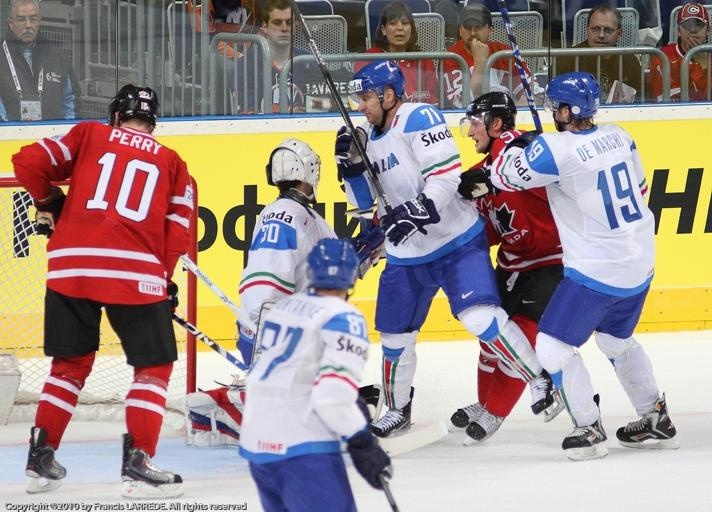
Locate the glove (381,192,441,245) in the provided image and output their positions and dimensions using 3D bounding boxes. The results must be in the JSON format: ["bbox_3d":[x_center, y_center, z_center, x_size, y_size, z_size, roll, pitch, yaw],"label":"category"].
[{"bbox_3d":[0.283,-0.198,6.048,0.303,0.236,0.118,-34,-12,26],"label":"glove"}]

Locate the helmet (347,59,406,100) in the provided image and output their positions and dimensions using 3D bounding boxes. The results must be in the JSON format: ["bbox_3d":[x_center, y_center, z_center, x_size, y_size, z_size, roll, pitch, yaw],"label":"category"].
[{"bbox_3d":[0.111,-0.960,6.239,0.258,0.198,0.191,-29,14,3],"label":"helmet"}]

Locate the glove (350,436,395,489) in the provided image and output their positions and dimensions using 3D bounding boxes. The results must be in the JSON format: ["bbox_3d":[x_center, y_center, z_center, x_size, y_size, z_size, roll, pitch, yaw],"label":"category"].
[{"bbox_3d":[0.047,0.847,4.722,0.145,0.246,0.087,-38,11,-5],"label":"glove"}]

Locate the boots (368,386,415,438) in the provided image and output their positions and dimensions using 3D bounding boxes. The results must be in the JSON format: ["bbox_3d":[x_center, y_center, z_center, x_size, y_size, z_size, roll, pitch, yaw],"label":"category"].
[{"bbox_3d":[0.211,0.981,6.555,0.113,0.229,0.327,-22,28,-17],"label":"boots"}]

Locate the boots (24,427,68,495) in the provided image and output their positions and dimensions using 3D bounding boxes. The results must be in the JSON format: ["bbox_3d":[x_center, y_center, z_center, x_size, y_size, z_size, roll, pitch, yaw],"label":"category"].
[{"bbox_3d":[-1.594,1.017,5.660,0.201,0.321,0.187,-5,13,-16],"label":"boots"}]

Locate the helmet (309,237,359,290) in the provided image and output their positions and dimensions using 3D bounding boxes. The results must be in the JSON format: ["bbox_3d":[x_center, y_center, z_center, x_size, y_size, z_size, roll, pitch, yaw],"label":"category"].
[{"bbox_3d":[-0.103,0.034,4.708,0.183,0.211,0.222,0,-16,1],"label":"helmet"}]

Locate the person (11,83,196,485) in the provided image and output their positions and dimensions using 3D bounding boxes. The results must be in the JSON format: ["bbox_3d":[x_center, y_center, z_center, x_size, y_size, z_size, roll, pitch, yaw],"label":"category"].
[{"bbox_3d":[-1.290,0.154,5.724,0.893,1.979,0.878,-2,13,-6],"label":"person"}]

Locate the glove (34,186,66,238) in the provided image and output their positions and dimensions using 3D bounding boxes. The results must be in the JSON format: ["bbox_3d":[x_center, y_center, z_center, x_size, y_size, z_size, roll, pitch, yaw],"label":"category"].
[{"bbox_3d":[-1.657,-0.225,5.934,0.227,0.286,0.116,-23,50,-37],"label":"glove"}]

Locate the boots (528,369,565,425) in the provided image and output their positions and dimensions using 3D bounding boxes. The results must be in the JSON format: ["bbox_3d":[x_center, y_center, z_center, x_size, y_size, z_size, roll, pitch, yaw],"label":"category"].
[{"bbox_3d":[1.078,0.809,6.336,0.144,0.196,0.437,-44,-15,4],"label":"boots"}]

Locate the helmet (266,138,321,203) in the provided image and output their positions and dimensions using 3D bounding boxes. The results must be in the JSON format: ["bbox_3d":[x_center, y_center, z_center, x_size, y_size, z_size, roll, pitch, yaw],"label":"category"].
[{"bbox_3d":[-0.353,-0.493,6.096,0.279,0.331,0.347,1,3,19],"label":"helmet"}]

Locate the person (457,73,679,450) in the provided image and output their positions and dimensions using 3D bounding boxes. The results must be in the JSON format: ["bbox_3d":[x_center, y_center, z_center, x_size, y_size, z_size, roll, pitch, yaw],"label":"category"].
[{"bbox_3d":[1.250,0.196,5.987,0.898,1.745,0.505,-4,13,-12],"label":"person"}]

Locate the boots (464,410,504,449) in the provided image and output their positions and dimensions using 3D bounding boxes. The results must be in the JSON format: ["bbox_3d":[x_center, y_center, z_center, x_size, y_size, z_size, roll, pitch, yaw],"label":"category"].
[{"bbox_3d":[0.726,0.965,6.325,0.103,0.100,0.288,13,31,33],"label":"boots"}]

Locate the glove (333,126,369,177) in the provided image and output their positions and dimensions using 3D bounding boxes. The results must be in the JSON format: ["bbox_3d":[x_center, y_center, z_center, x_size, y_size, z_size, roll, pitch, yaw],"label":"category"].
[{"bbox_3d":[-0.036,-0.580,6.308,0.118,0.261,0.205,-1,24,39],"label":"glove"}]

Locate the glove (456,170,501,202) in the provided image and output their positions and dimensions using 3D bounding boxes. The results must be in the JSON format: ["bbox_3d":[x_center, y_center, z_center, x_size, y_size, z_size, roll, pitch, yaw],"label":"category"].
[{"bbox_3d":[0.676,-0.392,6.160,0.205,0.167,0.141,-2,3,-8],"label":"glove"}]

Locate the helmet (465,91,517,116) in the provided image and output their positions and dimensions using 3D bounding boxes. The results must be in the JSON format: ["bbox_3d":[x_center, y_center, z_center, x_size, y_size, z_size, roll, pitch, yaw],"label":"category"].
[{"bbox_3d":[0.764,-0.872,6.335,0.217,0.106,0.149,4,2,1],"label":"helmet"}]

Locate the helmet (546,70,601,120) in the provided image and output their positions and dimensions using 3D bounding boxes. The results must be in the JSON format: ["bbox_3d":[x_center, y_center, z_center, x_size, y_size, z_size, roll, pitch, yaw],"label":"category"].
[{"bbox_3d":[1.143,-0.878,5.947,0.280,0.252,0.221,22,33,37],"label":"helmet"}]

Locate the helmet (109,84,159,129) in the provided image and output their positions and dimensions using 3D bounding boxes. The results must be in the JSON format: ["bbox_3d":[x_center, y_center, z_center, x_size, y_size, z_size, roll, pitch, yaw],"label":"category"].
[{"bbox_3d":[-1.179,-0.797,5.951,0.201,0.236,0.244,9,-6,-29],"label":"helmet"}]
